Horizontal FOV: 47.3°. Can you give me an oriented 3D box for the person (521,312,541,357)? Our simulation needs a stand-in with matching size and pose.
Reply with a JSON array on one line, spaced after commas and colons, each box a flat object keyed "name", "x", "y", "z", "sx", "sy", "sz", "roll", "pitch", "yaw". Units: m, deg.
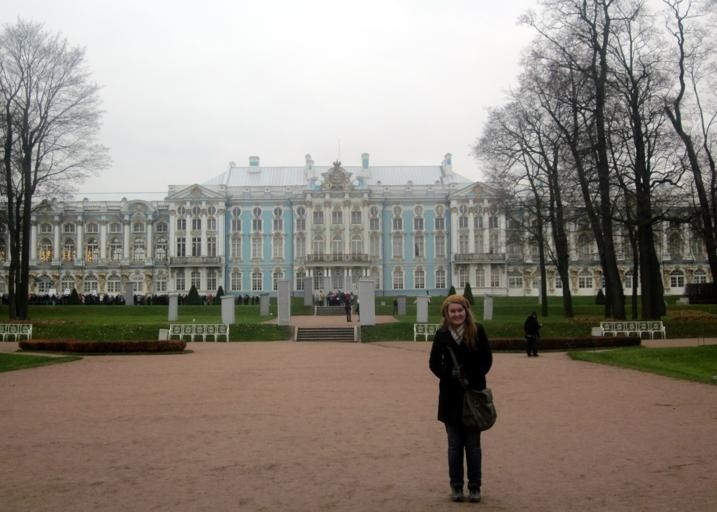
[{"name": "person", "x": 6.806, "y": 3.069, "z": 31.846, "sx": 0.553, "sy": 1.675, "sz": 1.147, "roll": -3, "pitch": -5, "yaw": 11}]

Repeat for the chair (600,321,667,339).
[{"name": "chair", "x": 12.886, "y": 3.484, "z": 37.963, "sx": 3.065, "sy": 0.860, "sz": 1.928, "roll": -1, "pitch": -5, "yaw": -19}]

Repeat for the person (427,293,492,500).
[{"name": "person", "x": 1.727, "y": 2.399, "z": 13.656, "sx": 0.983, "sy": 3.417, "sz": 0.433, "roll": -3, "pitch": -5, "yaw": 5}]

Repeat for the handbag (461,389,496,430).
[{"name": "handbag", "x": 1.967, "y": 2.547, "z": 13.517, "sx": 0.713, "sy": 0.689, "sz": 0.383, "roll": -1, "pitch": -4, "yaw": 0}]

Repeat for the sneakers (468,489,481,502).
[{"name": "sneakers", "x": 1.944, "y": 4.001, "z": 13.705, "sx": 0.201, "sy": 0.240, "sz": 0.197, "roll": -3, "pitch": -5, "yaw": 10}]
